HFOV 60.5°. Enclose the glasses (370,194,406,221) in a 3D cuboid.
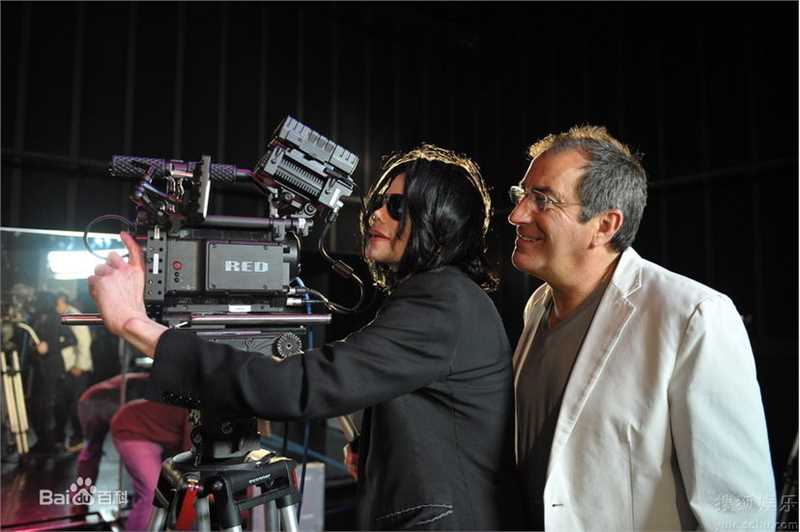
[{"bbox_3d":[-0.054,-0.305,3.468,0.147,0.062,0.152,0,-19,39],"label":"glasses"}]
